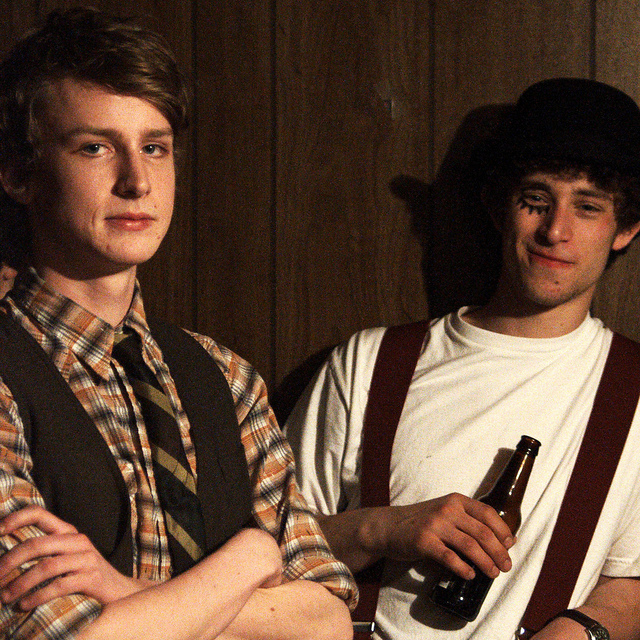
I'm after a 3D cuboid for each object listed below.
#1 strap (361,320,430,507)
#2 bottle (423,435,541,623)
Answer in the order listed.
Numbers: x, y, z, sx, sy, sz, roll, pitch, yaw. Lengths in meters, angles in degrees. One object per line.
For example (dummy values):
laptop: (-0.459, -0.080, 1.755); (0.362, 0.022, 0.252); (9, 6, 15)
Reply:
strap: (0.129, 0.182, 1.685); (0.126, 0.330, 0.121); (9, 20, 15)
bottle: (0.278, 0.358, 1.484); (0.160, 0.291, 0.135); (8, 3, 8)
